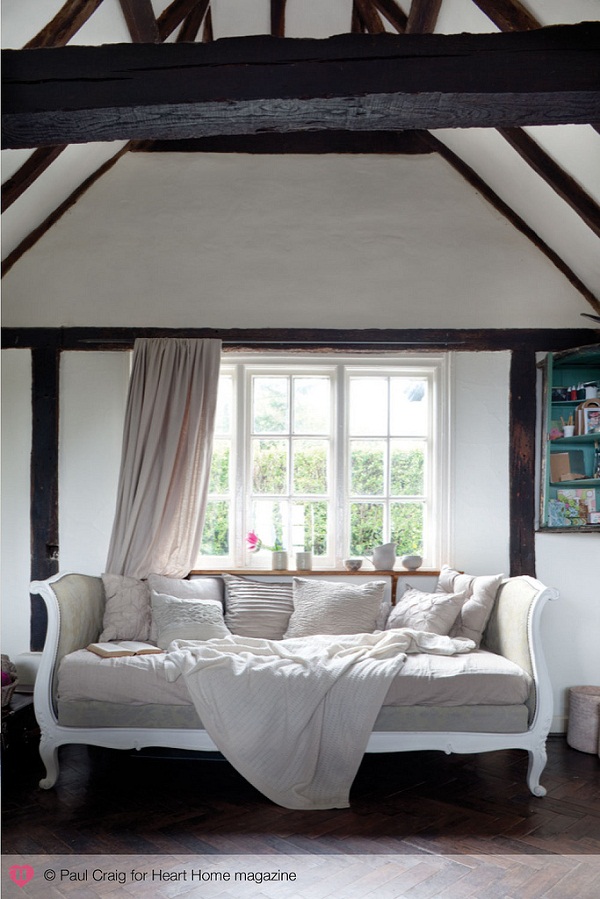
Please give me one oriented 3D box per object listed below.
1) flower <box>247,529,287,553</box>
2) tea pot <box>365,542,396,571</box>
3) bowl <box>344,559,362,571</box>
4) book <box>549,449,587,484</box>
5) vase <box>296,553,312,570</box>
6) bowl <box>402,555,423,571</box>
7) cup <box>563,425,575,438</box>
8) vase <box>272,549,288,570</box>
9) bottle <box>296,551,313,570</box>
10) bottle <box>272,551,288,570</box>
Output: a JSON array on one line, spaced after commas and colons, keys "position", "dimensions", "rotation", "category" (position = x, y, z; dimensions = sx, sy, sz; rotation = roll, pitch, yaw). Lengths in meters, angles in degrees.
[{"position": [-0.198, 0.565, 4.832], "dimensions": [0.205, 0.124, 0.113], "rotation": [7, -28, -22], "category": "flower"}, {"position": [0.504, 0.631, 4.716], "dimensions": [0.140, 0.160, 0.236], "rotation": [0, -3, 7], "category": "tea pot"}, {"position": [0.317, 0.678, 4.638], "dimensions": [0.073, 0.049, 0.073], "rotation": [0, -12, 0], "category": "bowl"}, {"position": [1.559, 0.095, 4.574], "dimensions": [0.189, 0.185, 0.065], "rotation": [0, -3, 16], "category": "book"}, {"position": [0.031, 0.661, 4.660], "dimensions": [0.096, 0.095, 0.084], "rotation": [4, -7, -21], "category": "vase"}, {"position": [0.664, 0.663, 4.641], "dimensions": [0.114, 0.086, 0.118], "rotation": [1, -3, 0], "category": "bowl"}, {"position": [1.549, -0.102, 4.543], "dimensions": [0.049, 0.079, 0.078], "rotation": [9, -18, -9], "category": "cup"}, {"position": [-0.113, 0.657, 4.659], "dimensions": [0.083, 0.108, 0.107], "rotation": [-1, -8, 3], "category": "vase"}, {"position": [0.030, 0.660, 4.662], "dimensions": [0.097, 0.099, 0.088], "rotation": [-2, -5, 16], "category": "bottle"}, {"position": [-0.113, 0.657, 4.670], "dimensions": [0.085, 0.109, 0.074], "rotation": [1, -3, -8], "category": "bottle"}]
